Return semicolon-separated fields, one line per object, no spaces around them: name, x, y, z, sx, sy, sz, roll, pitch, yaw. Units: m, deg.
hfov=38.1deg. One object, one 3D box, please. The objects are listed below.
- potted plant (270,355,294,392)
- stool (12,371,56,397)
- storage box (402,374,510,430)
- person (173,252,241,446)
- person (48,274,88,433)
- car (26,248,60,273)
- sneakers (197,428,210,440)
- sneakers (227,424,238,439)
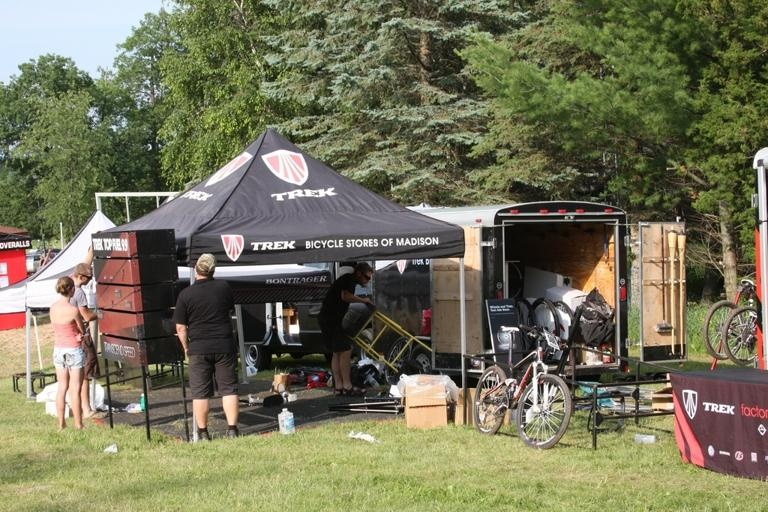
potted plant;-2.420;2.810;26.337;0.382;0.896;0.729;-1;-6;2
stool;-8.747;3.150;27.886;0.831;0.521;1.190;0;-1;24
storage box;1.368;3.123;23.762;1.808;0.980;1.121;1;-6;-4
person;-3.598;1.861;22.696;1.244;3.770;0.538;0;-4;-9
person;-6.728;2.074;23.670;0.709;3.205;0.689;0;-4;-18
car;-14.785;0.235;47.954;0.909;0.738;1.821;6;20;26
sneakers;-3.681;3.631;22.703;0.220;0.259;0.231;-1;-1;-22
sneakers;-3.109;3.612;22.831;0.236;0.238;0.208;0;-1;-28
